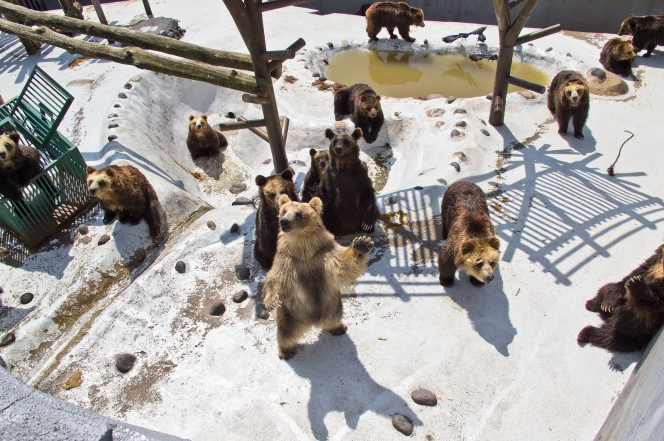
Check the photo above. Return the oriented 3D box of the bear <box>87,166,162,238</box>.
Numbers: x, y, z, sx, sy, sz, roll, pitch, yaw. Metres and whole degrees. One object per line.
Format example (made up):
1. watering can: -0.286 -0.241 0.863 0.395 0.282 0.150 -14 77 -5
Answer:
1. bear: -3.761 -0.355 8.528 0.997 1.220 0.921 -11 46 -8

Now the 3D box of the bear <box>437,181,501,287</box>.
1. bear: 2.045 0.302 7.268 0.675 1.016 1.954 -4 45 15

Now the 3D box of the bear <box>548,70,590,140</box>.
1. bear: 4.921 -2.563 9.614 0.629 1.047 1.852 3 49 27

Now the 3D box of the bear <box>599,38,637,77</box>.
1. bear: 7.049 -3.980 11.393 0.458 0.595 0.830 5 10 -13

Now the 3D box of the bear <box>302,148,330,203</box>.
1. bear: -0.333 -0.907 8.914 0.499 1.074 0.748 2 11 2

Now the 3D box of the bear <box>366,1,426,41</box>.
1. bear: 1.829 -6.011 14.225 1.954 1.307 0.940 4 53 5
